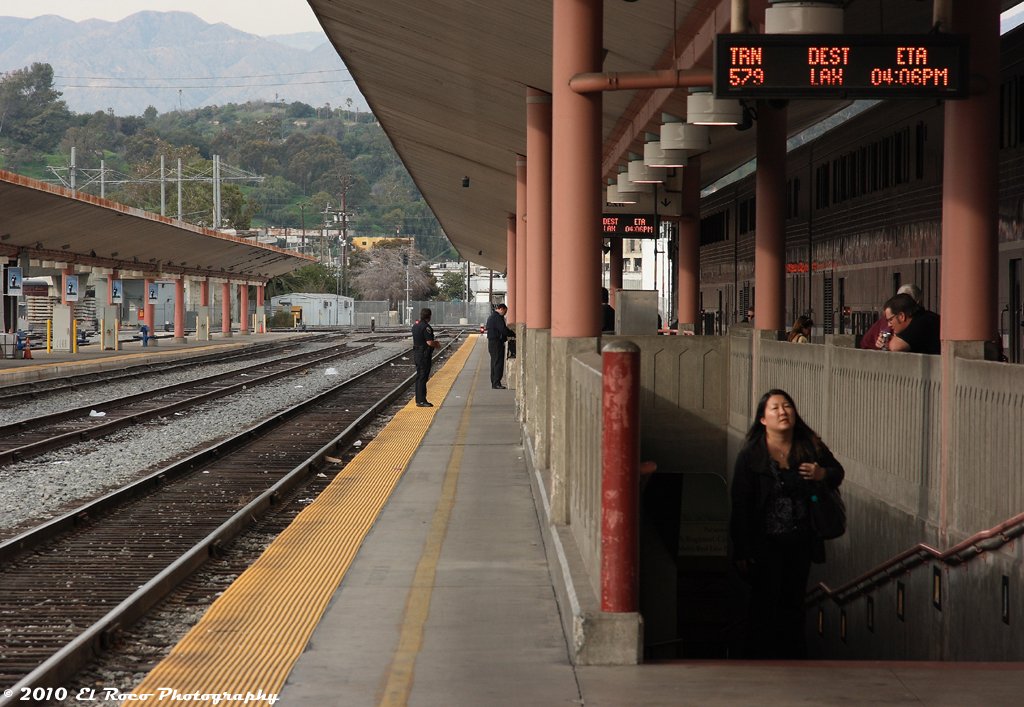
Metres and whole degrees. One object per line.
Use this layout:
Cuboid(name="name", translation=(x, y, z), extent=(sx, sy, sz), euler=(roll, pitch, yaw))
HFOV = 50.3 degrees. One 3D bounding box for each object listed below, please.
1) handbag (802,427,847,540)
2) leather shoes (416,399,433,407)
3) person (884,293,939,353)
Cuboid(name="handbag", translation=(2.716, 1.118, 9.218), extent=(0.259, 0.908, 0.387), euler=(-1, -7, -17))
Cuboid(name="leather shoes", translation=(-1.958, 1.098, 24.674), extent=(0.364, 0.296, 0.155), euler=(-1, 3, -1))
Cuboid(name="person", translation=(4.164, -0.319, 11.419), extent=(0.565, 0.603, 0.728), euler=(3, 4, 38))
